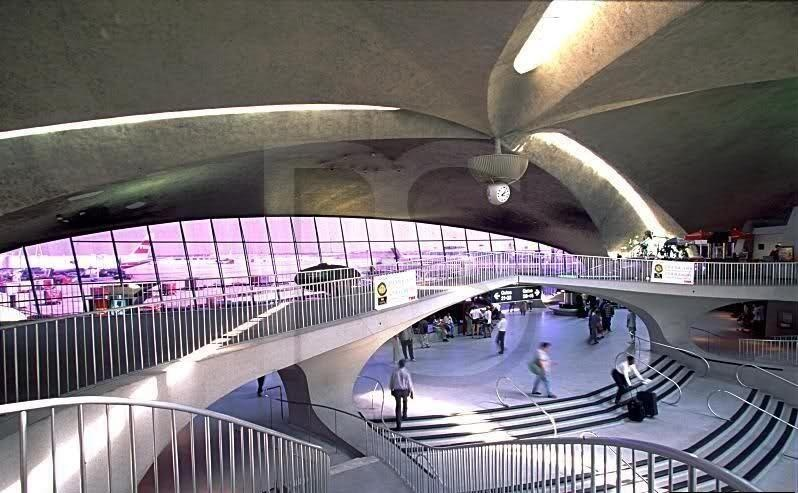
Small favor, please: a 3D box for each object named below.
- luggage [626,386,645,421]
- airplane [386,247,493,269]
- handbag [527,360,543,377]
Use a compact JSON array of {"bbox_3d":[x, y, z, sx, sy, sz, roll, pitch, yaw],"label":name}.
[{"bbox_3d":[8.837,5.974,20.127,0.859,1.309,0.889,-5,-1,21],"label":"luggage"},{"bbox_3d":[1.813,0.456,30.019,4.817,0.970,16.250,-2,-2,2],"label":"airplane"},{"bbox_3d":[5.393,4.815,20.881,0.825,0.638,0.775,-2,-1,19],"label":"handbag"}]
